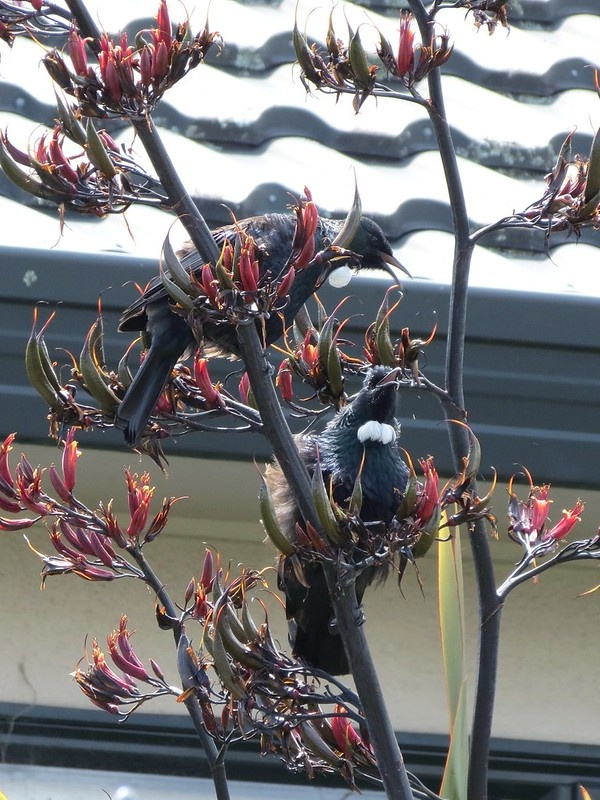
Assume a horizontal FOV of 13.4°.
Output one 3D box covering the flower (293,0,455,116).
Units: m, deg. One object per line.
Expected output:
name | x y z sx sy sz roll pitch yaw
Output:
flower | 0.116 -0.573 4.402 0.194 0.161 0.218 4 6 -28

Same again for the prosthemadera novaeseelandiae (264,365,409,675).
prosthemadera novaeseelandiae | 0.056 0.198 4.491 0.208 0.466 0.460 14 -52 -16

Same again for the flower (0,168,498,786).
flower | -0.043 0.095 4.367 0.889 1.183 0.735 15 -19 -39

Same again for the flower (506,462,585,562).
flower | 0.426 0.225 4.400 0.123 0.133 0.126 9 -1 -41
